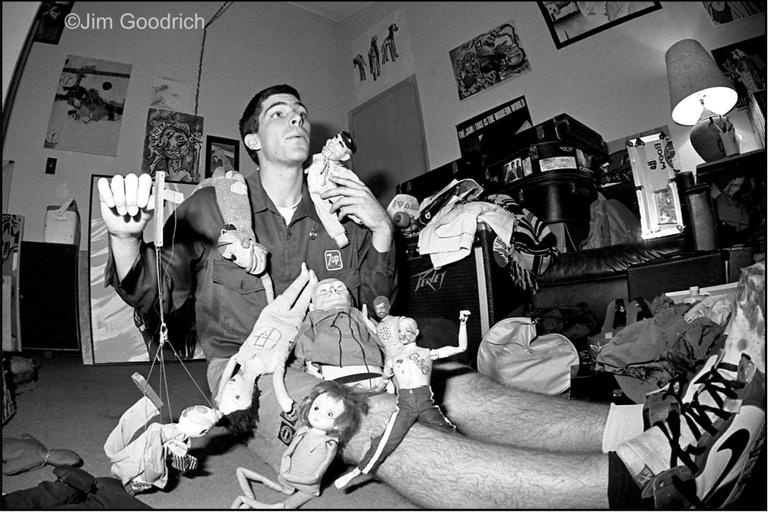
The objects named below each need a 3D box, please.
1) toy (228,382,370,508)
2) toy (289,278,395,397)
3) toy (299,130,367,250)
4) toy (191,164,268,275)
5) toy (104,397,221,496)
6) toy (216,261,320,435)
[{"bbox_3d":[-0.311,0.680,1.805,0.499,0.445,0.154,-2,-3,10],"label":"toy"},{"bbox_3d":[-0.177,0.320,1.970,0.349,0.412,0.148,-4,-29,-13],"label":"toy"},{"bbox_3d":[-0.290,-0.315,2.460,0.169,0.507,0.325,-13,-13,20],"label":"toy"},{"bbox_3d":[-0.664,-0.179,2.217,0.282,0.485,0.176,-30,-15,-29],"label":"toy"},{"bbox_3d":[-0.817,0.700,1.807,0.416,0.360,0.181,-3,-3,26],"label":"toy"},{"bbox_3d":[-0.427,0.374,2.107,0.349,0.597,0.182,24,-19,13],"label":"toy"}]
